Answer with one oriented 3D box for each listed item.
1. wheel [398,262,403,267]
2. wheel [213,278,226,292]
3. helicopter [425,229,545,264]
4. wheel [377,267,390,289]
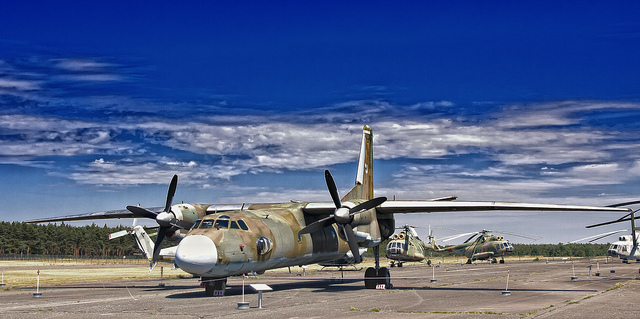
[{"bbox_3d":[13.104,17.354,89.337,0.759,0.769,1.169,-3,-9,29],"label":"wheel"},{"bbox_3d":[-8.525,11.004,48.168,1.231,0.908,1.074,2,-7,11],"label":"wheel"},{"bbox_3d":[27.889,15.602,96.766,19.618,4.046,17.455,-14,-21,41],"label":"helicopter"},{"bbox_3d":[6.113,11.463,52.333,1.064,1.545,1.866,-2,-22,9],"label":"wheel"}]
